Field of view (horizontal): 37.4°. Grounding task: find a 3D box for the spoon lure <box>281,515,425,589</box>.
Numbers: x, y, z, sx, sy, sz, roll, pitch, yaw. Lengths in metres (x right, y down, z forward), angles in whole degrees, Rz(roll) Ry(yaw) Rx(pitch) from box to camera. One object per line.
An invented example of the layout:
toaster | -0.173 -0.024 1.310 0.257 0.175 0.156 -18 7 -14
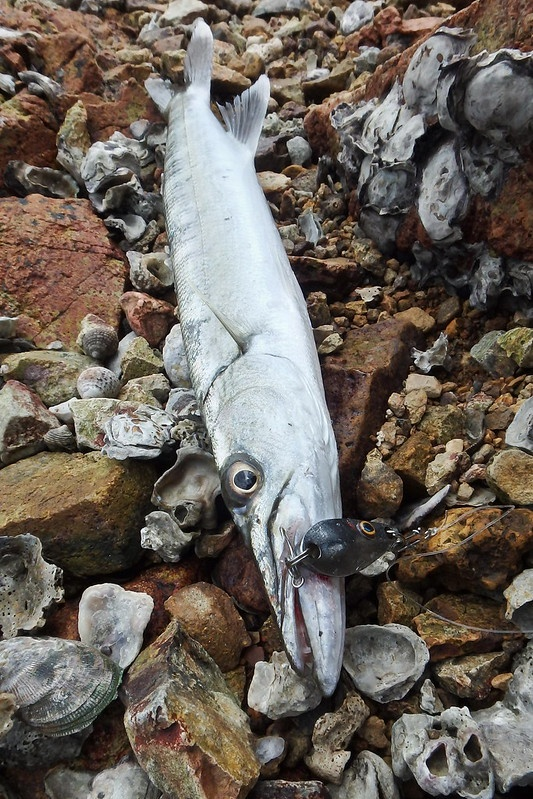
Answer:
spoon lure | 0.287 0.554 2.939 0.558 0.189 0.222 -11 52 -34
